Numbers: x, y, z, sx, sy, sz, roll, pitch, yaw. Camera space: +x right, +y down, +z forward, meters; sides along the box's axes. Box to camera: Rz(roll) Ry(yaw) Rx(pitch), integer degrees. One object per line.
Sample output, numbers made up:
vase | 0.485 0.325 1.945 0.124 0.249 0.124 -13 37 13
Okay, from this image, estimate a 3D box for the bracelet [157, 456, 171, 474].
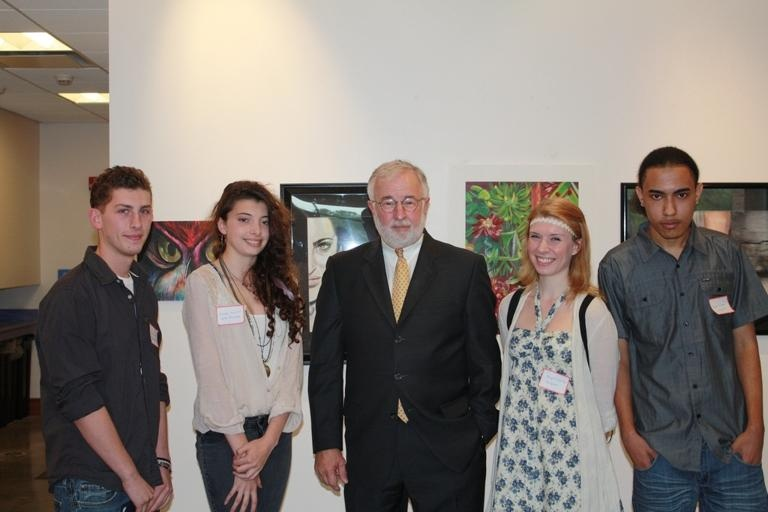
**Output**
bracelet | -1.465 1.371 4.068 0.107 0.044 0.096 16 1 24
